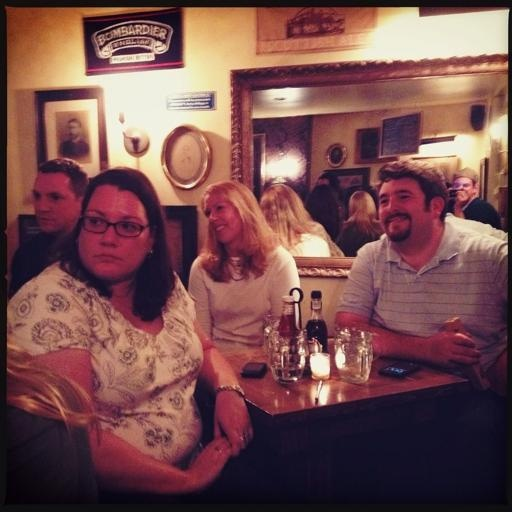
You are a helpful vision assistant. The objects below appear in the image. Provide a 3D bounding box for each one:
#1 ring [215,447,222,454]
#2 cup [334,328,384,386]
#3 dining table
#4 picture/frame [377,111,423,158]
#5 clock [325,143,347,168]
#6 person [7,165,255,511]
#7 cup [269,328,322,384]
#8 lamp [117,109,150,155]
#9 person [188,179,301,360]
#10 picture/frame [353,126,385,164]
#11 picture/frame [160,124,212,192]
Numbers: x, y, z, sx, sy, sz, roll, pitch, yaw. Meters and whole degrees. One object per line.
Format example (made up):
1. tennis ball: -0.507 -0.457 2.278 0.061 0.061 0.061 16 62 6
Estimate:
1. ring: -0.131 0.673 1.715 0.015 0.017 0.004 -14 8 9
2. cup: 0.386 0.362 1.797 0.190 0.179 0.122 -2 3 -38
3. dining table: 0.301 0.633 1.803 0.640 0.705 1.008 -3 -13 12
4. picture/frame: 0.659 -0.547 2.245 0.199 0.217 0.022 1 -10 21
5. clock: 0.371 -0.465 2.292 0.097 0.116 0.015 3 1 12
6. person: -0.440 0.242 1.714 0.770 1.080 0.436 -4 9 -24
7. cup: 0.125 0.351 1.809 0.152 0.171 0.229 1 6 18
8. lamp: -0.592 -0.593 2.303 0.065 0.173 0.127 -21 -18 1
9. person: -0.081 0.112 2.279 0.492 0.889 0.484 -8 3 15
10. picture/frame: 0.525 -0.506 2.279 0.132 0.162 0.016 -2 13 4
11. picture/frame: -0.339 -0.464 2.317 0.278 0.343 0.046 -1 6 4
